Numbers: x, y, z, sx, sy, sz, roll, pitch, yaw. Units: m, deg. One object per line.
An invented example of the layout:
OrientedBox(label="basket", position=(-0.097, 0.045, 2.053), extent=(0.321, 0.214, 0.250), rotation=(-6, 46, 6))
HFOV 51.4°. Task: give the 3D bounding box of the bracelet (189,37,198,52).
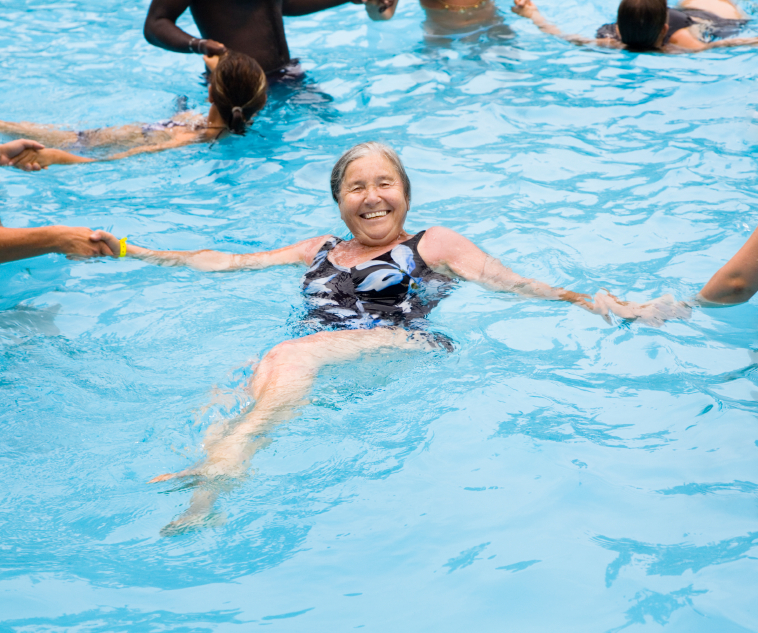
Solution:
OrientedBox(label="bracelet", position=(-1.426, -2.093, 6.072), extent=(0.068, 0.106, 0.093), rotation=(-8, 34, -6))
